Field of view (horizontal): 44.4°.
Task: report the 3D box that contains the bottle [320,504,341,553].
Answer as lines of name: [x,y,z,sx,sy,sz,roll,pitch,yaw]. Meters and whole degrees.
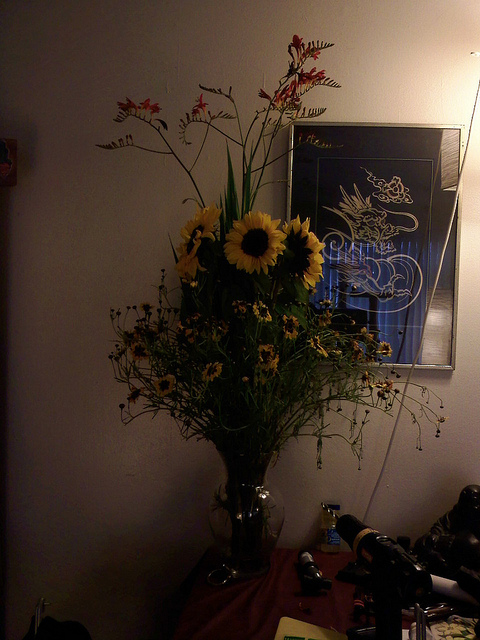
bottle: [0.250,0.566,1.606,0.064,0.127,0.069,2,-16,0]

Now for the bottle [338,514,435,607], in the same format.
bottle: [0.258,0.440,1.107,0.194,0.065,0.058,34,-4,45]

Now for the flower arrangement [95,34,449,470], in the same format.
flower arrangement: [0.041,0.003,1.991,0.944,1.791,1.044,-2,4,-14]

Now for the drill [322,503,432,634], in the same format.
drill: [0.245,0.469,1.154,0.084,0.151,0.309,3,0,-15]
